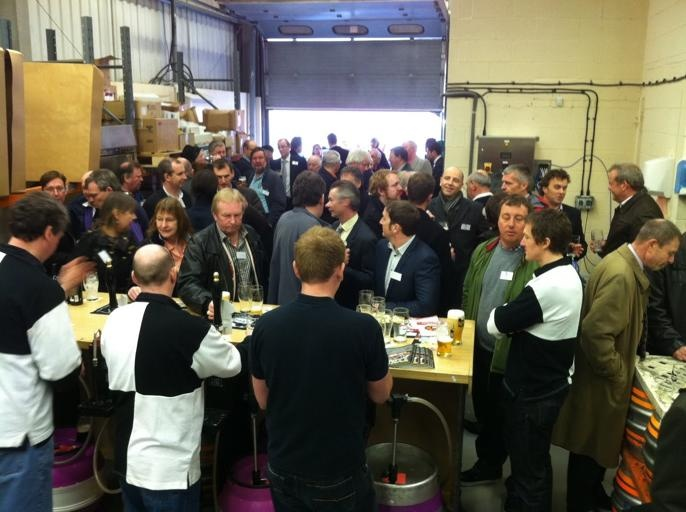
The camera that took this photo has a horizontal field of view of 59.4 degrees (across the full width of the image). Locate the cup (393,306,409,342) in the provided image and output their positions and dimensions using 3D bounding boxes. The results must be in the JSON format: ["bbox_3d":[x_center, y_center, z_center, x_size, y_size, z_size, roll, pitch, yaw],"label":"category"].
[{"bbox_3d":[0.363,0.421,3.780,0.095,0.158,0.217,1,12,4],"label":"cup"}]

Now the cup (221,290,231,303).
[{"bbox_3d":[-0.774,0.265,3.974,0.074,0.084,0.077,0,-9,0],"label":"cup"}]

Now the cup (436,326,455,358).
[{"bbox_3d":[0.626,0.539,3.734,0.115,0.188,0.118,3,6,0],"label":"cup"}]

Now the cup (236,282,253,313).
[{"bbox_3d":[-0.653,0.287,4.067,0.085,0.208,0.145,-2,12,-13],"label":"cup"}]

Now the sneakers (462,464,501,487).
[{"bbox_3d":[0.970,1.536,4.227,0.335,0.156,0.119,0,6,-2],"label":"sneakers"}]

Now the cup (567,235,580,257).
[{"bbox_3d":[1.698,-0.069,4.423,0.085,0.130,0.142,-21,15,17],"label":"cup"}]
